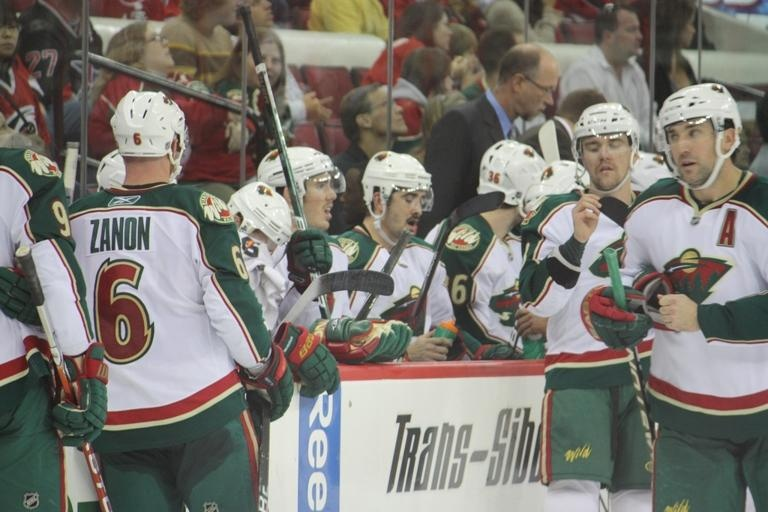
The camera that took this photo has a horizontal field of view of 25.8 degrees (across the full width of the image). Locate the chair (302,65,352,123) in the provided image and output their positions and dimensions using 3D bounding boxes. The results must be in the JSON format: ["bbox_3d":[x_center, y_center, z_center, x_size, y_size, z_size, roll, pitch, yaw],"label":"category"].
[{"bbox_3d":[-0.366,-1.056,10.754,0.297,0.406,0.325,-3,2,-43],"label":"chair"}]

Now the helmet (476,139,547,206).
[{"bbox_3d":[0.742,-0.515,10.411,0.438,0.383,0.327,-2,22,-26],"label":"helmet"}]

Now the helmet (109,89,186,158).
[{"bbox_3d":[-1.211,-0.692,8.560,0.294,0.349,0.360,3,15,10],"label":"helmet"}]

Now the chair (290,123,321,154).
[{"bbox_3d":[-0.505,-0.753,10.654,0.166,0.216,0.178,1,12,-5],"label":"chair"}]

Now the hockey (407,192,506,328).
[{"bbox_3d":[0.451,0.057,10.271,0.300,0.991,0.199,0,45,-14],"label":"hockey"}]

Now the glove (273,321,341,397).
[{"bbox_3d":[-0.387,0.536,8.771,0.301,0.398,0.168,-44,16,-23],"label":"glove"}]

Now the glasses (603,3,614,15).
[{"bbox_3d":[1.567,-1.742,11.767,0.057,0.075,0.070,-8,4,8],"label":"glasses"}]

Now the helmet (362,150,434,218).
[{"bbox_3d":[0.085,-0.432,10.005,0.415,0.409,0.354,0,1,1],"label":"helmet"}]

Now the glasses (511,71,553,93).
[{"bbox_3d":[0.984,-1.130,10.917,0.140,0.042,0.138,34,1,18],"label":"glasses"}]

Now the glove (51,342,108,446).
[{"bbox_3d":[-1.453,0.679,8.197,0.190,0.446,0.323,-8,-9,-16],"label":"glove"}]

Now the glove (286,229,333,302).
[{"bbox_3d":[-0.418,0.043,9.341,0.237,0.320,0.185,2,10,-7],"label":"glove"}]

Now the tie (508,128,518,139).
[{"bbox_3d":[0.836,-0.811,10.993,0.053,0.067,0.074,1,-3,-4],"label":"tie"}]

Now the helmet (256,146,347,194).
[{"bbox_3d":[-0.488,-0.520,9.847,0.400,0.212,0.289,-2,7,3],"label":"helmet"}]

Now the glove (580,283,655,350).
[{"bbox_3d":[1.220,0.336,9.059,0.362,0.296,0.263,10,8,-8],"label":"glove"}]

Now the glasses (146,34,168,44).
[{"bbox_3d":[-1.387,-1.341,10.307,0.068,0.022,0.071,2,-38,-10],"label":"glasses"}]
